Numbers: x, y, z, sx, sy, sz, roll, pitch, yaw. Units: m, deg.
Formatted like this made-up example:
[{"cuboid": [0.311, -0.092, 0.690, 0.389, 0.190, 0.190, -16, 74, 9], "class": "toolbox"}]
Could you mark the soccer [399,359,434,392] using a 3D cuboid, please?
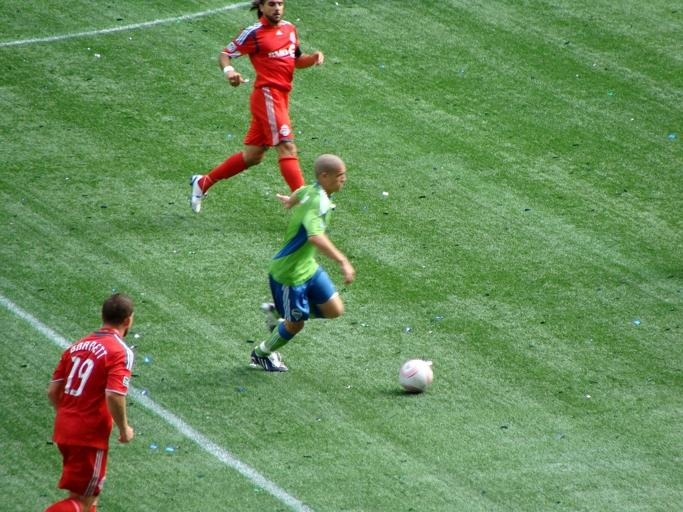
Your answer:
[{"cuboid": [0.728, 1.135, 14.227, 0.253, 0.255, 0.316, -15, 10, -38], "class": "soccer"}]

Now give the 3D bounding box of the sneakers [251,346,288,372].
[{"cuboid": [-0.688, 1.026, 14.325, 0.380, 0.207, 0.173, 18, 51, -5], "class": "sneakers"}]

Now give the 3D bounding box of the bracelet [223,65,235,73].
[{"cuboid": [-1.127, -1.879, 15.264, 0.099, 0.030, 0.099, -15, 14, -8], "class": "bracelet"}]

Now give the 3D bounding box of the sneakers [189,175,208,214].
[{"cuboid": [-1.468, -0.625, 15.576, 0.175, 0.395, 0.133, 0, 8, 8], "class": "sneakers"}]

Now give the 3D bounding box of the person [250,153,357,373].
[{"cuboid": [-0.369, 0.167, 14.622, 1.184, 2.184, 1.103, 7, 31, 1], "class": "person"}]
